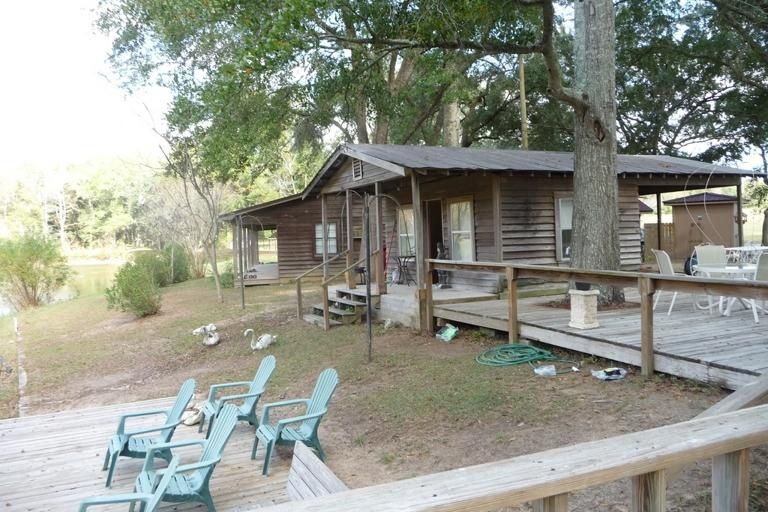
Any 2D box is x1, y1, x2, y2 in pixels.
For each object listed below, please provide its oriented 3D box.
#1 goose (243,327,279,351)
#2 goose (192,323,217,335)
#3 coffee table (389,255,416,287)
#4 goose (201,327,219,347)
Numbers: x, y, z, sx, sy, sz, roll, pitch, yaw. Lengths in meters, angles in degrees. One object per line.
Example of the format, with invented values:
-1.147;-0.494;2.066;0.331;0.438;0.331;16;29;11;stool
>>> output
-3.107;2.122;14.682;1.075;0.651;0.367;2;-8;-40;goose
-4.854;2.012;15.994;0.533;0.180;0.537;-7;6;2;goose
0.604;0.453;18.480;0.865;0.929;0.868;0;9;1;coffee table
-4.485;2.136;15.454;0.377;0.500;0.499;0;6;8;goose
